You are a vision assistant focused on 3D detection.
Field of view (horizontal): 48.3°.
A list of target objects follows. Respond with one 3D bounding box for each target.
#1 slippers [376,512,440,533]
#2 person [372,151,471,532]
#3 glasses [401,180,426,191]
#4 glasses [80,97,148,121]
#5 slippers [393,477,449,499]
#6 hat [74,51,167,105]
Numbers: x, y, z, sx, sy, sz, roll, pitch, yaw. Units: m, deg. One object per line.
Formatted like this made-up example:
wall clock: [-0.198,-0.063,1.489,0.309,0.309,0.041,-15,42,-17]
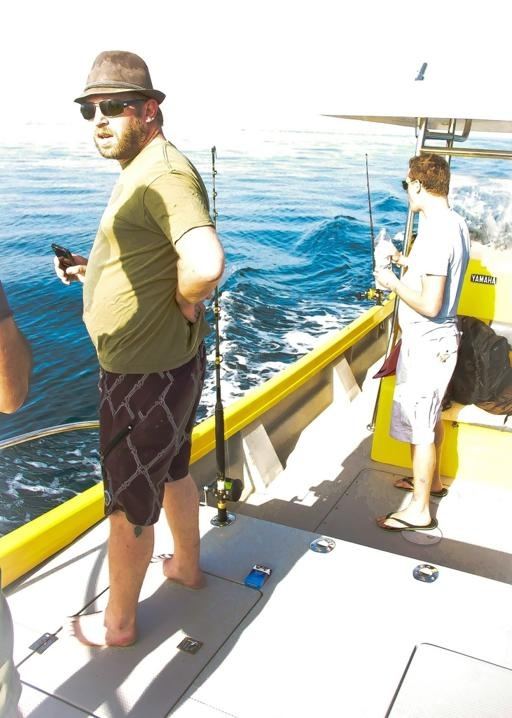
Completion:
slippers: [0.667,0.727,2.505,0.198,0.033,0.101,1,13,15]
person: [0.672,-0.033,2.430,0.371,1.572,0.517,6,23,19]
glasses: [0.653,-0.736,2.400,0.066,0.020,0.061,13,20,-10]
glasses: [-0.332,-0.562,1.286,0.151,0.045,0.057,1,21,7]
slippers: [0.806,0.636,2.806,0.255,0.062,0.097,7,16,23]
hat: [-0.314,-0.643,1.294,0.148,0.075,0.149,-1,15,-1]
